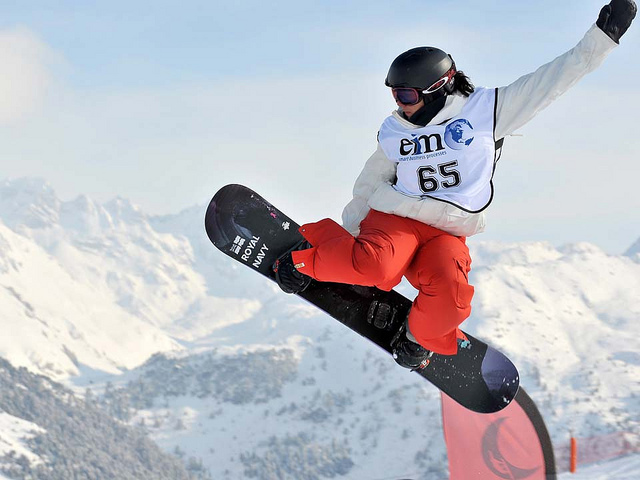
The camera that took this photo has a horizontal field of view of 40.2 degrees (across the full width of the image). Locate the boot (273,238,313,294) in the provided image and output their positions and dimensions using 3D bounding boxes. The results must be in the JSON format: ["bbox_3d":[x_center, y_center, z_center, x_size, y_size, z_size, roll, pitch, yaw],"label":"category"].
[{"bbox_3d":[-0.731,0.747,20.531,0.735,1.347,0.534,30,14,-45],"label":"boot"}]
